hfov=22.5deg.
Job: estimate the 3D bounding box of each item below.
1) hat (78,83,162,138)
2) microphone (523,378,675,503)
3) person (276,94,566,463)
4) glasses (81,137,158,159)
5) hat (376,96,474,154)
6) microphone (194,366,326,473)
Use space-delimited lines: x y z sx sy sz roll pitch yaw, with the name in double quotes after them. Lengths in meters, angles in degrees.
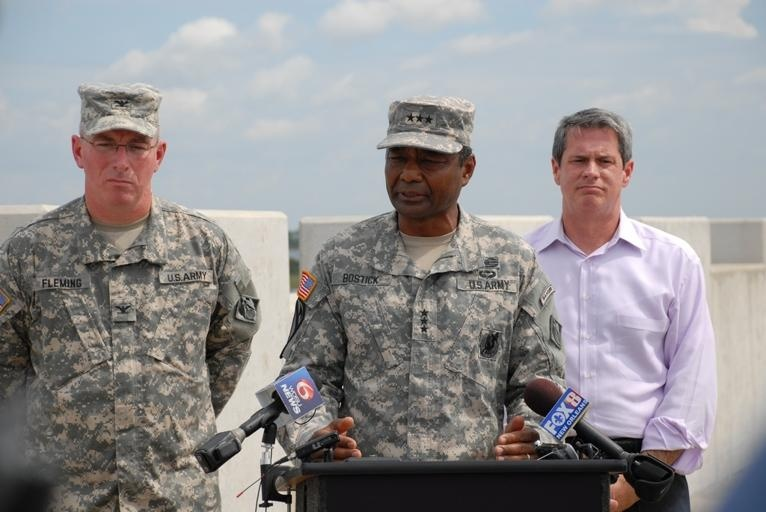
-1.626 -0.871 11.837 0.572 0.367 0.718 -2 -3 -5 "hat"
1.226 1.082 10.977 0.938 0.254 0.251 40 -10 19 "microphone"
0.237 0.131 11.234 1.602 2.101 0.521 -1 1 -3 "person"
-1.571 -0.639 11.585 0.397 0.114 0.066 -1 1 -9 "glasses"
0.262 -0.757 11.400 0.535 0.310 0.675 3 5 13 "hat"
-0.697 0.921 10.668 0.746 0.283 0.312 -38 7 -32 "microphone"
